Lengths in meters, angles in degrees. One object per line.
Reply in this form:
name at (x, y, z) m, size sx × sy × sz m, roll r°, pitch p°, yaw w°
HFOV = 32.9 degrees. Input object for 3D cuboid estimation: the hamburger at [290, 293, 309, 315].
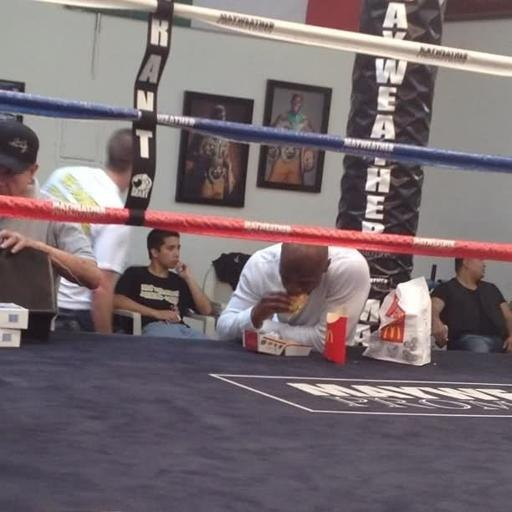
hamburger at (0.116, 0.125, 2.369) m, size 0.044 × 0.016 × 0.072 m, roll -2°, pitch -20°, yaw -3°
